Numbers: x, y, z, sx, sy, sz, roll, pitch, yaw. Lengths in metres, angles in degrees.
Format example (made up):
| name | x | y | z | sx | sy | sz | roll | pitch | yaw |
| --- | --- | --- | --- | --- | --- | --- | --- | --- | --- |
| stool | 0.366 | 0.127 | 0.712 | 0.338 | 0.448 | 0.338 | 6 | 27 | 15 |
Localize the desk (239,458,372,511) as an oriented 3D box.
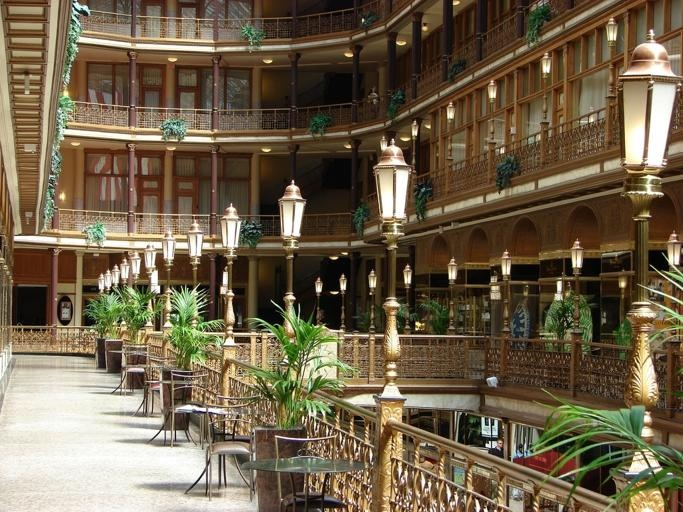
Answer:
| name | x | y | z | sx | sy | sz | roll | pitch | yaw |
| --- | --- | --- | --- | --- | --- | --- | --- | --- | --- |
| desk | -0.322 | 1.942 | 6.546 | 0.964 | 0.570 | 1.188 | 3 | -4 | -7 |
